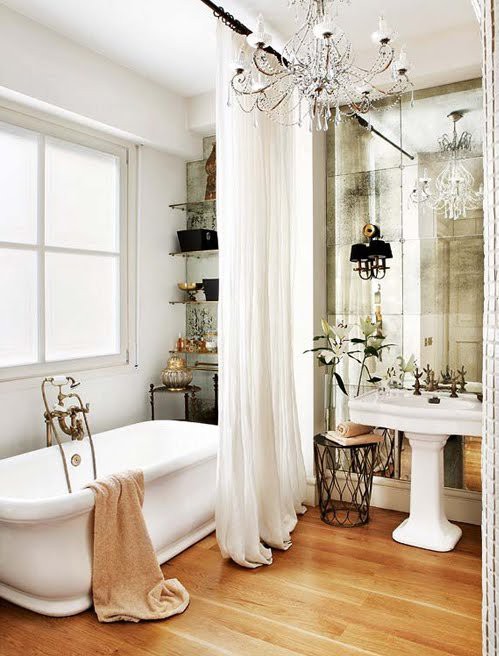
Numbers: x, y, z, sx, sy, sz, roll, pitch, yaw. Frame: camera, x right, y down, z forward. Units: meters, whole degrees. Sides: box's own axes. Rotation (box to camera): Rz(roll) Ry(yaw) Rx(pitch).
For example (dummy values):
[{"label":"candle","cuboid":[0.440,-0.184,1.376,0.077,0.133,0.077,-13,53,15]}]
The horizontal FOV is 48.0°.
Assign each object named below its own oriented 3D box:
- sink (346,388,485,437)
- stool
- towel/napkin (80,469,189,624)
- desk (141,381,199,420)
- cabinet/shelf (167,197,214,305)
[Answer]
[{"label":"sink","cuboid":[0.874,0.461,2.965,0.650,0.203,0.582,1,2,25]},{"label":"stool","cuboid":[0.592,0.926,3.352,0.412,0.528,0.434,0,-3,-26]},{"label":"towel/napkin","cuboid":[-0.428,0.900,2.452,0.489,0.670,0.398,-5,-5,39]},{"label":"desk","cuboid":[-0.561,0.561,4.091,0.360,0.347,0.571,0,2,-6]},{"label":"cabinet/shelf","cuboid":[-0.380,-0.588,4.227,0.436,0.803,0.274,1,2,26]}]
